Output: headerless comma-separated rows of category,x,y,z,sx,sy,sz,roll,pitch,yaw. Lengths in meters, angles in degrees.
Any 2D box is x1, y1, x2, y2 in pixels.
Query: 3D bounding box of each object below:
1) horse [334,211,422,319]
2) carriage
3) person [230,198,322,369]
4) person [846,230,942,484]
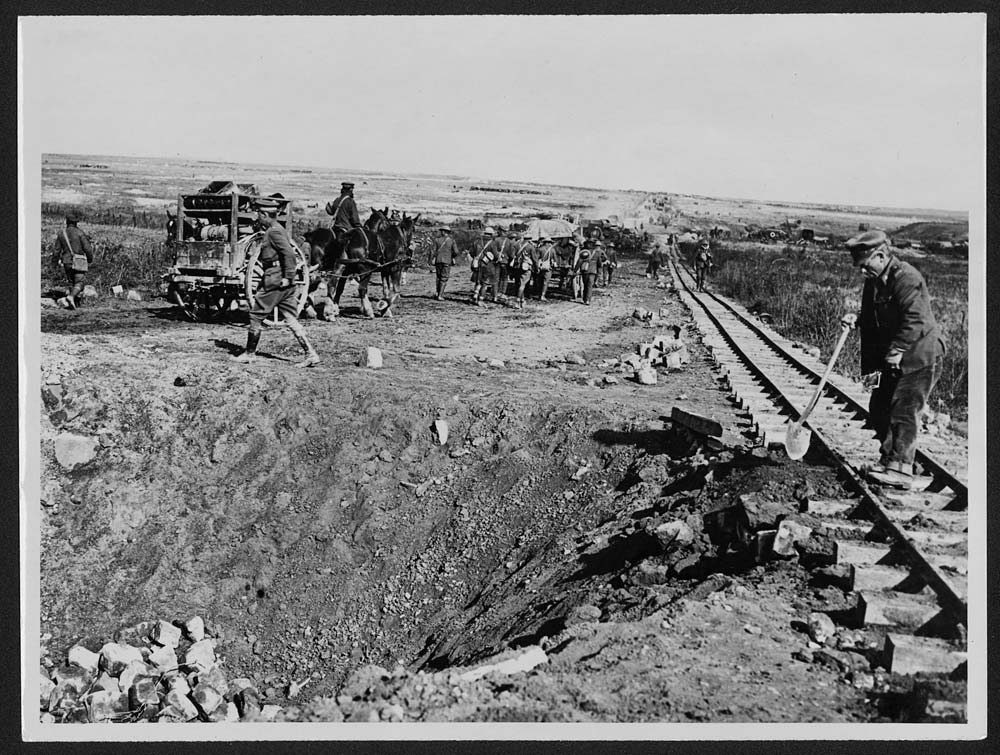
horse,-3.109,-2.749,19.771,0.901,2.758,3.438,5,18,11
carriage,-4.950,-2.507,16.879,2.083,3.553,3.196,8,11,38
person,-3.548,-1.454,13.316,1.169,2.560,0.927,1,4,-12
person,4.729,-0.257,10.236,1.175,2.863,0.969,0,1,-3
